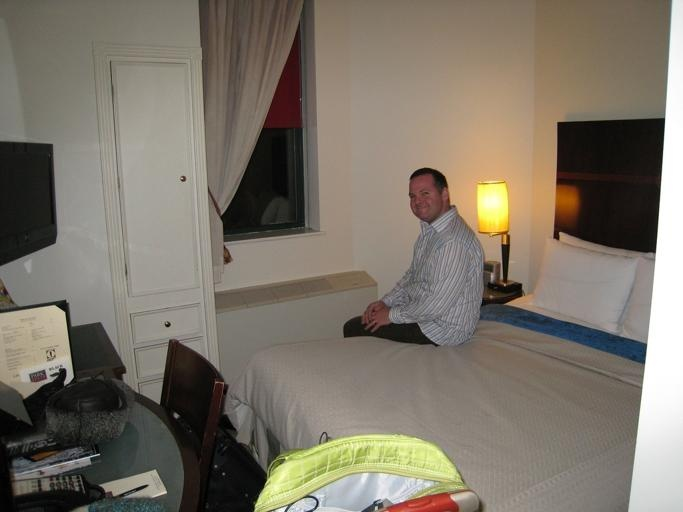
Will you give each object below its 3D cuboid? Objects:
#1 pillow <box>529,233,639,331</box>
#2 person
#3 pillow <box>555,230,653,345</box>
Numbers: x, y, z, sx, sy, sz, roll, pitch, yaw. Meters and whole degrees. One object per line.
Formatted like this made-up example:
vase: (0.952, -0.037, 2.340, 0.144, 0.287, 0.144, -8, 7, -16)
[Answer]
pillow: (1.565, 0.179, 3.090, 0.177, 0.410, 0.508, 3, 9, -29)
person: (0.468, 0.175, 3.173, 0.783, 1.463, 0.707, -1, 14, -5)
pillow: (1.548, 0.182, 3.191, 0.232, 0.516, 0.657, -9, 22, -32)
